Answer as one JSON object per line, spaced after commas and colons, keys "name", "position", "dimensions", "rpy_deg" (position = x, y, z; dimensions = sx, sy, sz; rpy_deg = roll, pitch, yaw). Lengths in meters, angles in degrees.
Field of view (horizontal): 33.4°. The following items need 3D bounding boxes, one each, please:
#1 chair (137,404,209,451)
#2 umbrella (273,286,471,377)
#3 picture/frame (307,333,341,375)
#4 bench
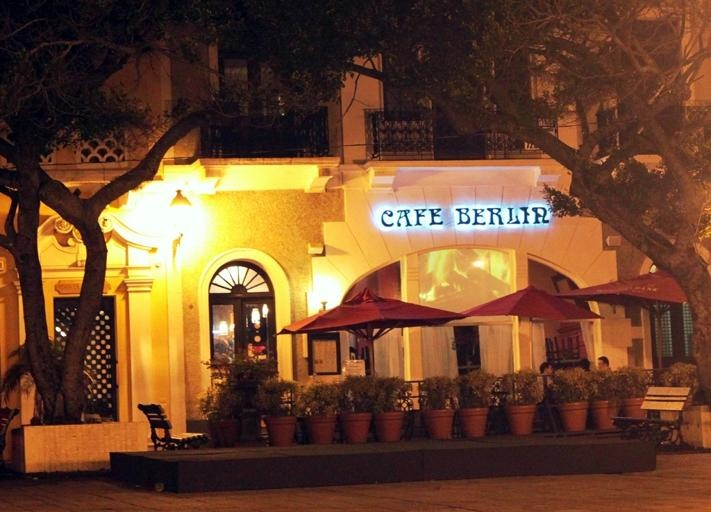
{"name": "chair", "position": [-3.365, 3.162, 21.679], "dimensions": [1.154, 1.040, 1.172], "rpy_deg": [-9, 10, -2]}
{"name": "umbrella", "position": [0.344, 1.177, 22.785], "dimensions": [2.219, 1.105, 2.300], "rpy_deg": [-2, -1, -16]}
{"name": "picture/frame", "position": [-0.737, 2.161, 25.859], "dimensions": [0.863, 1.203, 0.189], "rpy_deg": [4, -8, -20]}
{"name": "bench", "position": [5.470, 2.898, 21.430], "dimensions": [1.034, 1.291, 1.394], "rpy_deg": [12, -15, -37]}
